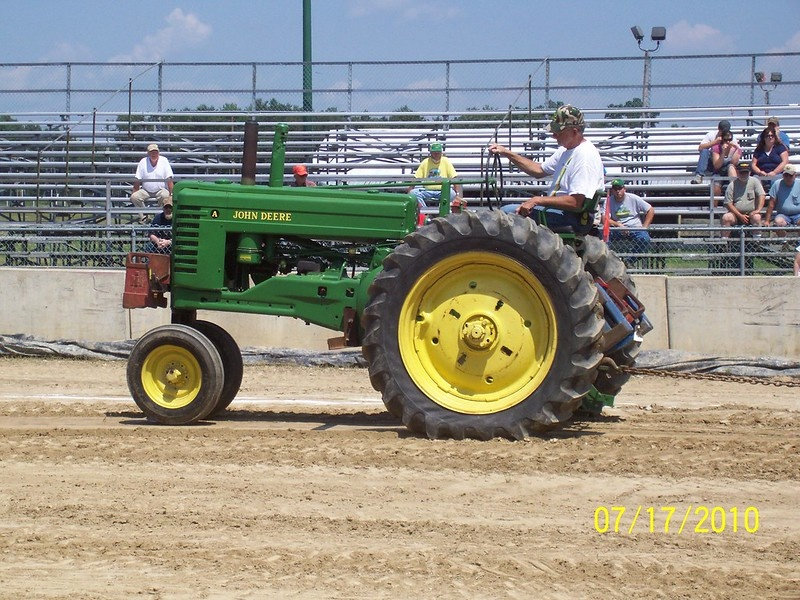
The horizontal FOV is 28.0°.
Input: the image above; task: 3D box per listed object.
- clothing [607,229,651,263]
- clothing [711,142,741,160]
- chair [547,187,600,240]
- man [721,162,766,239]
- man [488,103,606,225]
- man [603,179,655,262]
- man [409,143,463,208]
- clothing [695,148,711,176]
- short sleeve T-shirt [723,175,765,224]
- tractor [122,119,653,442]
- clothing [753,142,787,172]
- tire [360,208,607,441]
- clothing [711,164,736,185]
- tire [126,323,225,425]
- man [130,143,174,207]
[{"bbox_3d":[2.689,-0.609,18.503,0.488,0.491,0.025,-1,5,0],"label":"clothing"},{"bbox_3d":[4.337,-1.974,21.027,0.244,0.105,0.285,4,-1,-4],"label":"clothing"},{"bbox_3d":[1.721,-0.784,14.900,0.529,0.631,0.484,3,2,0],"label":"chair"},{"bbox_3d":[4.264,-1.205,19.842,0.643,1.024,0.622,-2,4,-26],"label":"man"},{"bbox_3d":[1.412,-1.034,14.720,0.987,1.426,0.788,-3,10,-11],"label":"man"},{"bbox_3d":[2.707,-0.986,19.313,0.745,0.938,0.719,-7,6,-1],"label":"man"},{"bbox_3d":[0.412,-1.483,19.744,0.657,0.893,0.484,0,9,-3],"label":"man"},{"bbox_3d":[4.089,-1.840,21.322,0.198,0.310,0.094,-3,-12,-25],"label":"clothing"},{"bbox_3d":[4.310,-1.229,19.944,0.551,0.602,0.361,0,31,12],"label":"short sleeve T-shirt"},{"bbox_3d":[-0.011,-0.127,15.623,4.862,2.990,2.509,3,0,14],"label":"tractor"},{"bbox_3d":[4.800,-1.823,20.541,0.439,0.412,0.242,3,-8,20],"label":"clothing"},{"bbox_3d":[0.787,0.283,14.289,2.113,2.089,0.682,2,-2,21],"label":"tire"},{"bbox_3d":[4.269,-1.618,20.982,0.194,0.264,0.094,6,-16,17],"label":"clothing"},{"bbox_3d":[-2.044,0.714,14.699,0.807,0.810,0.314,9,4,3],"label":"tire"},{"bbox_3d":[-3.319,-1.591,21.298,0.624,0.930,0.547,-1,13,0],"label":"man"}]
